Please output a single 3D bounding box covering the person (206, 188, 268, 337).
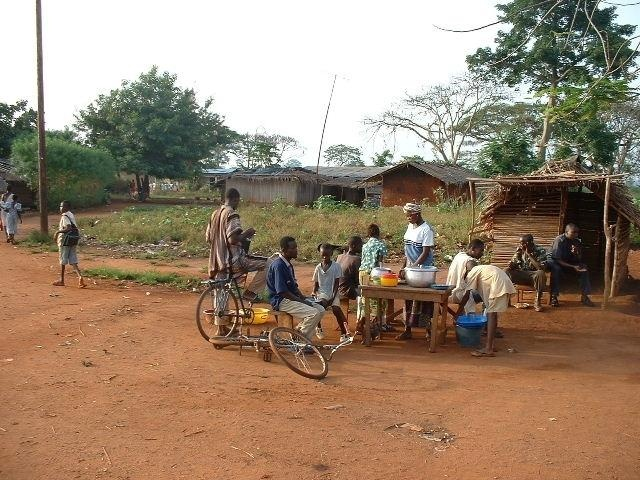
[{"bbox_3d":[-1.265,0.082,9.063,0.947,1.680,0.586,0,13,-5],"label":"person"}]

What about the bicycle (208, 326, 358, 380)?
[{"bbox_3d":[-0.513,1.421,8.504,1.498,0.564,1.453,4,11,10],"label":"bicycle"}]

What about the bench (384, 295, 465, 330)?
[{"bbox_3d":[1.595,1.029,9.131,0.964,0.536,0.947,1,0,23],"label":"bench"}]

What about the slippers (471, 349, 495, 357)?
[{"bbox_3d":[2.388,1.633,8.774,0.253,0.082,0.137,3,3,8],"label":"slippers"}]

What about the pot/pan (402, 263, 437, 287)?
[{"bbox_3d":[1.502,0.515,8.978,0.391,0.217,0.334,1,-1,4],"label":"pot/pan"}]

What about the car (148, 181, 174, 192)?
[{"bbox_3d":[-15.064,-5.076,57.008,2.722,1.071,3.348,2,5,-4],"label":"car"}]

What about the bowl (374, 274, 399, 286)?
[{"bbox_3d":[1.023,0.585,8.918,0.223,0.142,0.208,-1,3,0],"label":"bowl"}]

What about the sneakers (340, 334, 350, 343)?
[{"bbox_3d":[0.395,1.520,9.295,0.152,0.086,0.090,0,4,31],"label":"sneakers"}]

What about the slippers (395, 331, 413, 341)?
[{"bbox_3d":[1.355,1.518,9.595,0.272,0.213,0.110,6,-2,1],"label":"slippers"}]

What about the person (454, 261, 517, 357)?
[{"bbox_3d":[2.464,0.985,9.168,0.811,1.337,1.234,1,12,-1],"label":"person"}]

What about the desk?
[{"bbox_3d":[1.350,1.095,9.336,1.392,0.911,1.037,1,8,21],"label":"desk"}]

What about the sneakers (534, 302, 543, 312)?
[{"bbox_3d":[4.136,1.249,11.325,0.150,0.161,0.202,6,12,20],"label":"sneakers"}]

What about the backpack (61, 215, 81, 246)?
[{"bbox_3d":[-5.250,-0.205,12.581,0.348,0.672,0.248,-10,17,-43],"label":"backpack"}]

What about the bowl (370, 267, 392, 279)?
[{"bbox_3d":[0.901,0.483,8.993,0.198,0.163,0.184,1,2,0],"label":"bowl"}]

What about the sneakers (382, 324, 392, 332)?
[{"bbox_3d":[1.104,1.465,10.039,0.226,0.079,0.075,0,27,-6],"label":"sneakers"}]

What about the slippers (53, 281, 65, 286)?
[{"bbox_3d":[-5.504,0.898,12.628,0.253,0.097,0.102,10,6,32],"label":"slippers"}]

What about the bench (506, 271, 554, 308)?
[{"bbox_3d":[3.977,0.853,11.545,0.784,0.754,0.665,-5,24,9],"label":"bench"}]

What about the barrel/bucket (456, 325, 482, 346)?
[{"bbox_3d":[2.320,1.466,9.197,0.364,0.239,0.339,1,1,0],"label":"barrel/bucket"}]

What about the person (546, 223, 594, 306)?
[{"bbox_3d":[4.873,0.467,11.662,0.881,1.596,0.818,4,13,11],"label":"person"}]
